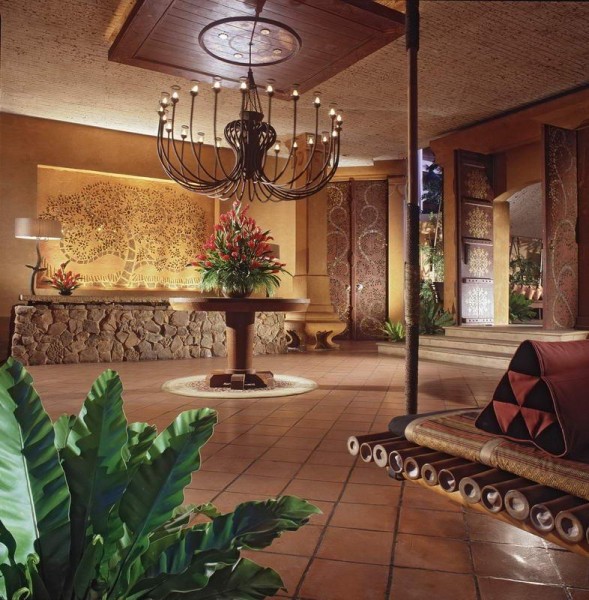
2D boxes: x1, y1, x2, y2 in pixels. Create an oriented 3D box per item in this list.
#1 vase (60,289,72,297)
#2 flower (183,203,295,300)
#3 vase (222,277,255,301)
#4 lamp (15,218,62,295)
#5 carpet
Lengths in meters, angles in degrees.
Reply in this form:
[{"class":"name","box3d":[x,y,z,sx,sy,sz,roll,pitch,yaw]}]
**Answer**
[{"class":"vase","box3d":[-3.350,-0.114,6.626,0.147,0.104,0.118,1,-2,-27]},{"class":"flower","box3d":[-0.612,-0.462,4.812,1.020,0.954,1.024,0,-3,-13]},{"class":"vase","box3d":[-0.551,-0.108,4.447,0.248,0.117,0.222,-2,-4,11]},{"class":"lamp","box3d":[-3.864,-0.662,6.801,0.615,1.152,1.252,2,-2,-29]},{"class":"carpet","box3d":[-0.533,0.809,4.494,1.512,0.122,1.177,1,-2,-4]}]
